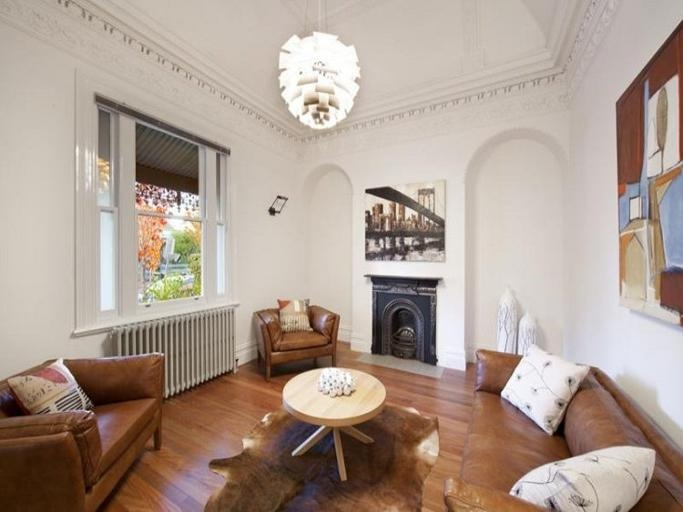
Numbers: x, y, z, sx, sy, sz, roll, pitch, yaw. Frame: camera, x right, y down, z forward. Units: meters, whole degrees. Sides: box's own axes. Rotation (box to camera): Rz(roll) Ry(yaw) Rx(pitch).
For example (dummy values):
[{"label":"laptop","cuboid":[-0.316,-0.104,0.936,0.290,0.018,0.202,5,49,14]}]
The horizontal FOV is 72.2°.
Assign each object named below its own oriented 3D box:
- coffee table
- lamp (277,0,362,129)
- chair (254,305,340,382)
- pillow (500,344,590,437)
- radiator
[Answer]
[{"label":"coffee table","cuboid":[-0.073,1.680,4.835,0.955,0.715,1.033,-6,16,-10]},{"label":"lamp","cuboid":[-0.225,-1.793,4.759,0.814,0.864,0.489,1,-2,-3]},{"label":"chair","cuboid":[-0.652,1.182,6.527,1.053,0.920,0.793,-3,2,-23]},{"label":"pillow","cuboid":[1.894,1.203,4.364,0.205,0.753,0.736,37,-15,-22]},{"label":"radiator","cuboid":[-1.827,1.200,5.892,0.147,0.965,1.404,-2,3,31]}]
